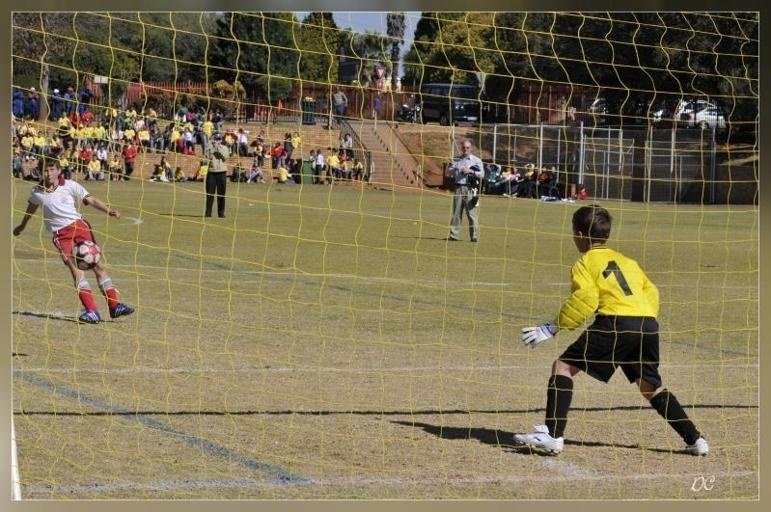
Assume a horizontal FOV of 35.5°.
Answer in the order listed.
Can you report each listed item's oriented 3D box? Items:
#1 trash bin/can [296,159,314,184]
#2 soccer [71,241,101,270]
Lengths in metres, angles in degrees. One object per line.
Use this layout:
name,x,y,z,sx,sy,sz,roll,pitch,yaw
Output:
trash bin/can,-2.804,-2.934,41.907,0.676,1.193,1.230,0,3,-7
soccer,-4.743,-0.016,19.038,0.396,0.482,0.216,2,9,1
